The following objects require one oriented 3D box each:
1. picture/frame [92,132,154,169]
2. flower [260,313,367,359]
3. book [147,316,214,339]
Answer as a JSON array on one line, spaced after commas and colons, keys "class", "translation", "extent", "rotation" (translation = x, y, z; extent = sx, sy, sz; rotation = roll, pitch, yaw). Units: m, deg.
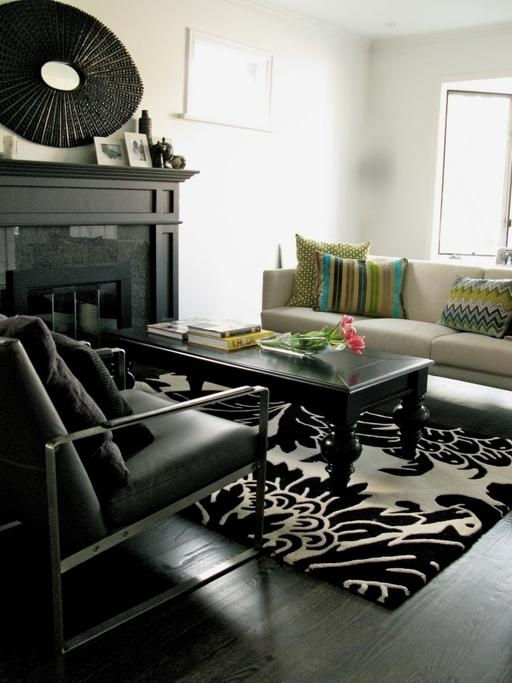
[{"class": "picture/frame", "translation": [-0.886, -1.266, 3.601], "extent": [0.261, 0.277, 0.372], "rotation": [3, 8, 15]}, {"class": "flower", "translation": [0.237, -0.013, 2.326], "extent": [0.354, 0.144, 0.216], "rotation": [-1, 1, 5]}, {"class": "book", "translation": [-0.376, -0.072, 2.696], "extent": [0.175, 0.034, 0.178], "rotation": [9, 14, 38]}]
